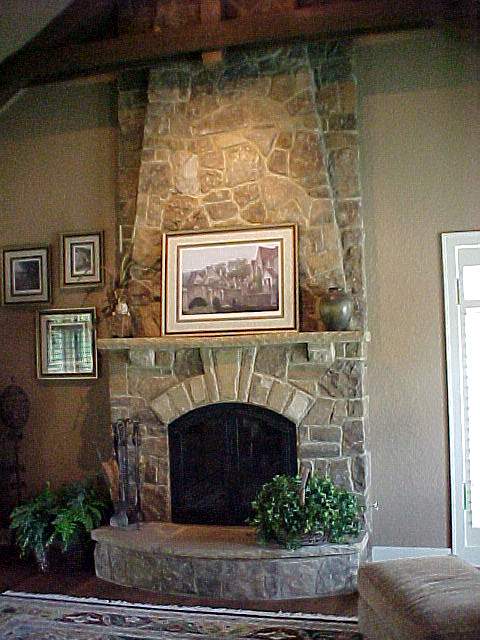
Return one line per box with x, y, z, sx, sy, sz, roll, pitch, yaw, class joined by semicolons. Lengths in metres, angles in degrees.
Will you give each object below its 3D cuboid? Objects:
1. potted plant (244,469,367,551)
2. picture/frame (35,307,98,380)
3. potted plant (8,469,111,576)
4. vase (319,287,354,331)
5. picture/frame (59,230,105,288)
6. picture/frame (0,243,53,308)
0.291;0.895;2.967;0.420;0.325;0.463;6;0;42;potted plant
-1.046;0.153;3.804;0.357;0.499;0.040;-3;29;-19;picture/frame
-1.074;1.069;3.446;0.327;0.254;0.356;-22;-10;-14;potted plant
0.452;-0.043;3.120;0.154;0.253;0.179;0;-3;-3;vase
-0.950;-0.360;3.799;0.255;0.403;0.028;-2;-27;-14;picture/frame
-1.303;-0.277;3.890;0.291;0.432;0.027;-1;-3;13;picture/frame
